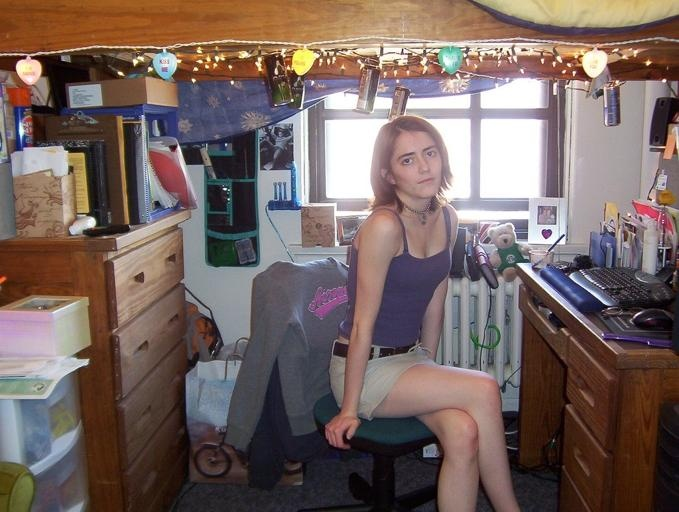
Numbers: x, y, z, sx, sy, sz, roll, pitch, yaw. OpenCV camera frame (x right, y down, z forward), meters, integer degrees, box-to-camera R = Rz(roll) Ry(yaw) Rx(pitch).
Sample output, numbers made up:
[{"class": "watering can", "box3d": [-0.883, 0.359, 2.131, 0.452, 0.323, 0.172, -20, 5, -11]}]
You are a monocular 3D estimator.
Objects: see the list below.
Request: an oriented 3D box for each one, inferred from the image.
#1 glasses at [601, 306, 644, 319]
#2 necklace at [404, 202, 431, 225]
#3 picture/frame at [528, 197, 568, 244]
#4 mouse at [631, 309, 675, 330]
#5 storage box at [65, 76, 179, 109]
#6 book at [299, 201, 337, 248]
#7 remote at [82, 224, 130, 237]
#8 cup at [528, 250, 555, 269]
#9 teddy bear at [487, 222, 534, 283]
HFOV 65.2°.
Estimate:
[{"class": "glasses", "box3d": [0.988, 0.194, 1.825, 0.098, 0.022, 0.057, -5, 13, -2]}, {"class": "necklace", "box3d": [0.284, -0.150, 1.922, 0.084, 0.023, 0.065, 16, -3, 5]}, {"class": "picture/frame", "box3d": [1.180, -0.198, 2.985, 0.269, 0.340, 0.034, 2, 3, 6]}, {"class": "mouse", "box3d": [1.017, 0.204, 1.694, 0.106, 0.034, 0.060, -5, 18, 9]}, {"class": "storage box", "box3d": [-0.971, -0.733, 2.405, 0.507, 0.124, 0.317, -11, 18, -29]}, {"class": "book", "box3d": [-0.186, -0.179, 3.200, 0.313, 0.239, 0.307, 0, 5, 8]}, {"class": "remote", "box3d": [-0.885, -0.092, 1.985, 0.157, 0.031, 0.099, -10, 17, -28]}, {"class": "cup", "box3d": [0.980, 0.016, 2.541, 0.101, 0.072, 0.099, -1, 4, 0]}, {"class": "teddy bear", "box3d": [0.972, -0.028, 2.995, 0.226, 0.290, 0.228, -11, 13, 29]}]
